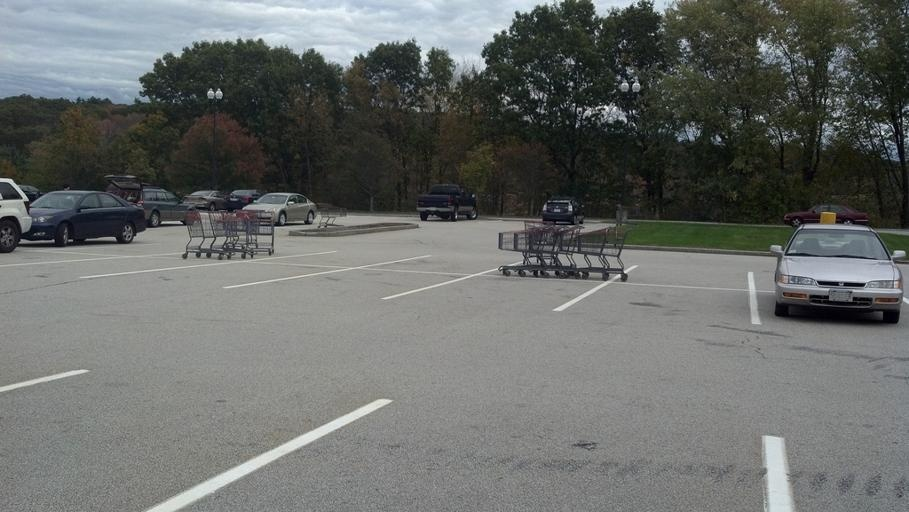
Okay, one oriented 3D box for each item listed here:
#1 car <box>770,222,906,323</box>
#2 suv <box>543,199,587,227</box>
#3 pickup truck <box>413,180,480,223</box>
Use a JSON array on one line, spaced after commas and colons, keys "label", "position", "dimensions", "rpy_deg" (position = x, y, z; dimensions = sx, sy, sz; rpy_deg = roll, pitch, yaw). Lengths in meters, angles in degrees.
[{"label": "car", "position": [8.781, 0.388, 15.741], "dimensions": [2.856, 2.124, 2.459], "rpy_deg": [-4, 6, -35]}, {"label": "suv", "position": [7.334, -2.606, 45.190], "dimensions": [2.309, 1.653, 5.032], "rpy_deg": [2, 6, 20]}, {"label": "pickup truck", "position": [-0.360, -3.656, 46.814], "dimensions": [1.934, 2.414, 4.480], "rpy_deg": [2, 5, 30]}]
